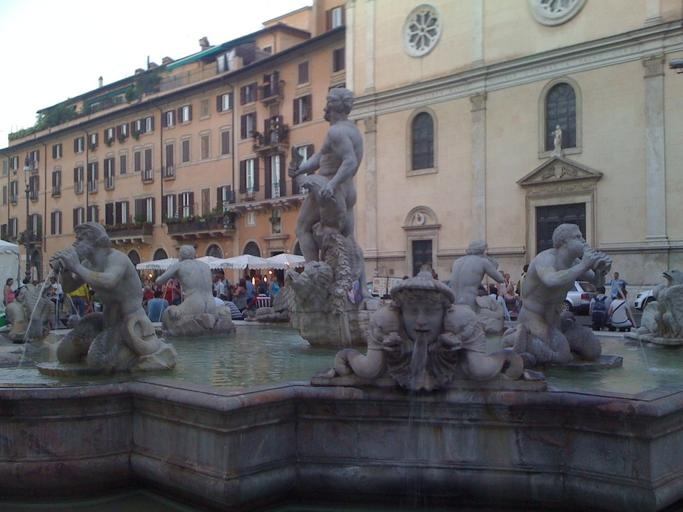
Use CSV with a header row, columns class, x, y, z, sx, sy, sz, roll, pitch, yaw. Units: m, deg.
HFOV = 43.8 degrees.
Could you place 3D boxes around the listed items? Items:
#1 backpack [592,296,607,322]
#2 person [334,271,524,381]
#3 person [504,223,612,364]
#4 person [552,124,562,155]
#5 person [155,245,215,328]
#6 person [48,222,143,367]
class,x,y,z,sx,sy,sz,roll,pitch,yaw
backpack,5.307,1.131,17.233,0.339,0.569,0.549,-3,-24,24
person,0.725,0.631,7.306,1.616,1.095,0.579,0,-1,9
person,2.215,0.392,8.679,1.000,1.436,1.119,1,5,16
person,7.284,-3.869,28.399,0.309,1.070,0.550,1,5,14
person,-2.269,0.551,12.802,0.861,1.384,0.917,-10,-10,32
person,-2.424,0.399,8.480,0.844,1.477,1.021,-2,5,-17
